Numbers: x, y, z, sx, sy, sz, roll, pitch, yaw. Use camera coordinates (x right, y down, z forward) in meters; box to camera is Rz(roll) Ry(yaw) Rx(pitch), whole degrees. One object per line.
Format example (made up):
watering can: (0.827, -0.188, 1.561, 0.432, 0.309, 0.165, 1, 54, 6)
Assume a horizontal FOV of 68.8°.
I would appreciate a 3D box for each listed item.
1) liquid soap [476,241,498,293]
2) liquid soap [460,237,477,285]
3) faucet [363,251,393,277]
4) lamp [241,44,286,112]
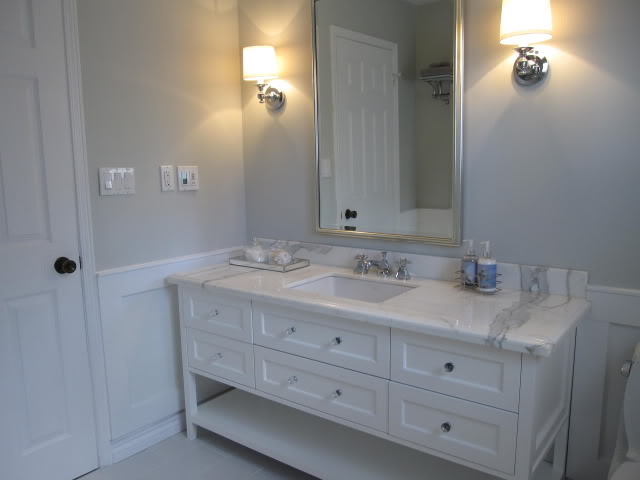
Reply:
liquid soap: (0.775, 0.121, 2.178, 0.083, 0.236, 0.084, 0, 4, 2)
liquid soap: (0.717, 0.102, 2.233, 0.108, 0.221, 0.110, 1, 12, 10)
faucet: (0.320, 0.115, 2.541, 0.152, 0.146, 0.099, 4, 20, 16)
lamp: (-0.357, -0.973, 2.828, 0.198, 0.349, 0.226, -2, 14, 2)
